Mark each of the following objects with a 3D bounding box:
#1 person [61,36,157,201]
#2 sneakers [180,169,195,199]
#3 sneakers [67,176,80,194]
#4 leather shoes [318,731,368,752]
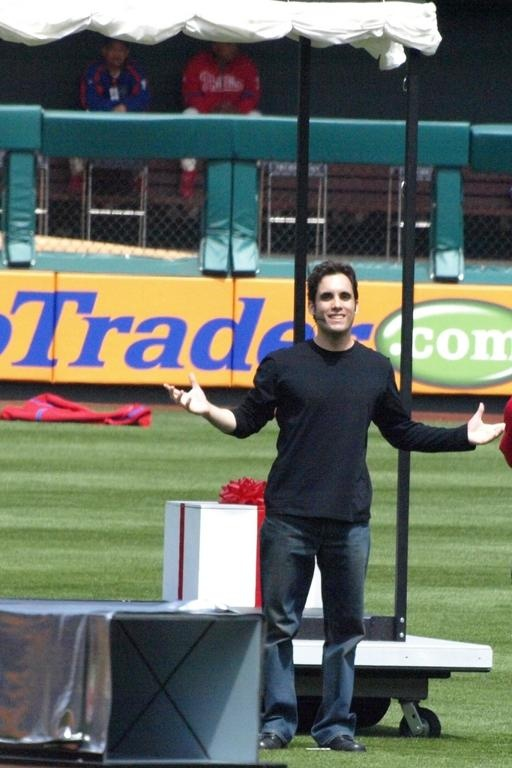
[{"bbox_3d":[-1.036,-1.838,15.720,0.534,1.090,1.034,0,7,-6],"label":"person"},{"bbox_3d":[-0.510,-1.445,16.246,0.072,0.097,0.306,13,-14,1],"label":"sneakers"},{"bbox_3d":[-1.296,-1.421,16.091,0.088,0.103,0.175,1,3,-1],"label":"sneakers"},{"bbox_3d":[0.276,1.196,7.524,0.151,0.064,0.061,-7,-3,21],"label":"leather shoes"}]
